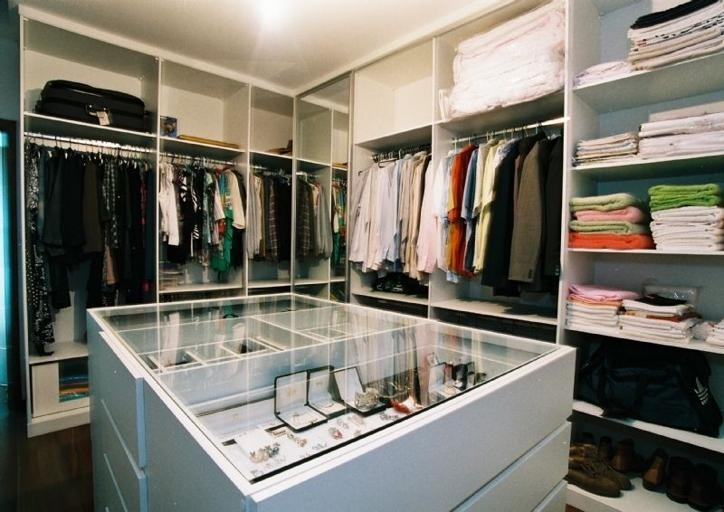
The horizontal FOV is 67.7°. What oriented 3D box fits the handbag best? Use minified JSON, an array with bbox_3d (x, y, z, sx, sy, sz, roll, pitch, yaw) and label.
[{"bbox_3d":[1.697,0.767,3.264,0.807,0.591,0.482,4,5,40],"label":"handbag"}]
